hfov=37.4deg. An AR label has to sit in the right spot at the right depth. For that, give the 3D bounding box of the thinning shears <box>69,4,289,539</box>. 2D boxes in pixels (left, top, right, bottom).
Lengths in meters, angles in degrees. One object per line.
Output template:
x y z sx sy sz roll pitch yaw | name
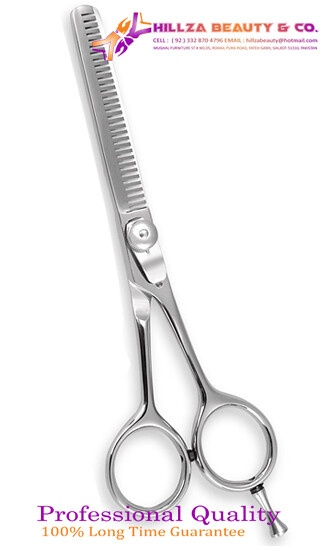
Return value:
-0.024 -0.026 0.683 0.209 0.767 0.055 -9 -9 -11 | thinning shears
